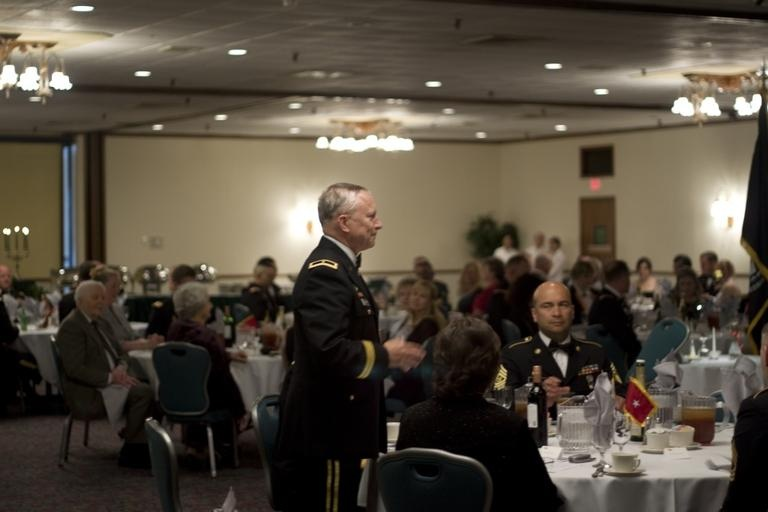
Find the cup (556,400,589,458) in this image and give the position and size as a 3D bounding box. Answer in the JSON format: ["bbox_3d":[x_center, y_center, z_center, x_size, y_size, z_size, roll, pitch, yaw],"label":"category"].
[{"bbox_3d":[0.926,0.855,3.614,0.183,0.274,0.185,0,-16,0],"label":"cup"}]

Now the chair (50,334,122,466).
[{"bbox_3d":[-2.631,1.262,6.598,0.785,1.024,0.787,4,6,-2],"label":"chair"}]

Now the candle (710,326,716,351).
[{"bbox_3d":[3.041,0.788,6.756,0.053,0.228,0.253,-5,10,24],"label":"candle"}]

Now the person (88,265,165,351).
[{"bbox_3d":[-2.458,0.542,6.946,0.663,0.771,0.499,0,1,-9],"label":"person"}]

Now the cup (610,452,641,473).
[{"bbox_3d":[1.086,0.933,3.286,0.114,0.086,0.091,-2,-6,14],"label":"cup"}]

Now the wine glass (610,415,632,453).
[{"bbox_3d":[1.185,0.933,3.704,0.113,0.175,0.106,-3,-9,1],"label":"wine glass"}]

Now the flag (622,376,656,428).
[{"bbox_3d":[1.210,0.691,3.481,0.162,0.282,0.031,-8,21,19],"label":"flag"}]

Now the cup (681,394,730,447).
[{"bbox_3d":[1.649,0.842,3.739,0.241,0.243,0.157,-3,-4,20],"label":"cup"}]

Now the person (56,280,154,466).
[{"bbox_3d":[-2.405,1.046,6.378,0.683,1.651,0.455,-5,10,21],"label":"person"}]

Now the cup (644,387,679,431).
[{"bbox_3d":[1.478,0.830,3.871,0.228,0.246,0.239,3,-13,1],"label":"cup"}]

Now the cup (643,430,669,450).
[{"bbox_3d":[1.329,0.896,3.576,0.098,0.072,0.097,1,-1,0],"label":"cup"}]

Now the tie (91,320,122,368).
[{"bbox_3d":[-2.458,0.784,6.501,0.156,0.397,0.295,-22,-6,22],"label":"tie"}]
